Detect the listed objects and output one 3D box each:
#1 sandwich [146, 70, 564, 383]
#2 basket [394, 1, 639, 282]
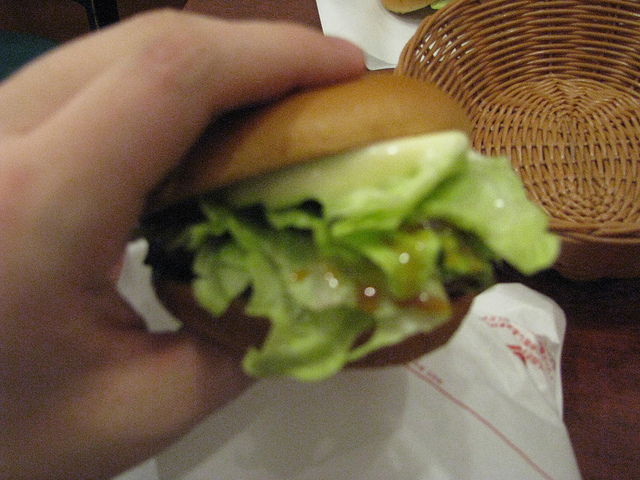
[{"bbox_3d":[0.005,0.013,0.232,0.120,0.116,0.070,-34,96,-34],"label":"sandwich"},{"bbox_3d":[0.173,-0.058,0.508,0.197,0.084,0.247,14,87,19],"label":"basket"}]
